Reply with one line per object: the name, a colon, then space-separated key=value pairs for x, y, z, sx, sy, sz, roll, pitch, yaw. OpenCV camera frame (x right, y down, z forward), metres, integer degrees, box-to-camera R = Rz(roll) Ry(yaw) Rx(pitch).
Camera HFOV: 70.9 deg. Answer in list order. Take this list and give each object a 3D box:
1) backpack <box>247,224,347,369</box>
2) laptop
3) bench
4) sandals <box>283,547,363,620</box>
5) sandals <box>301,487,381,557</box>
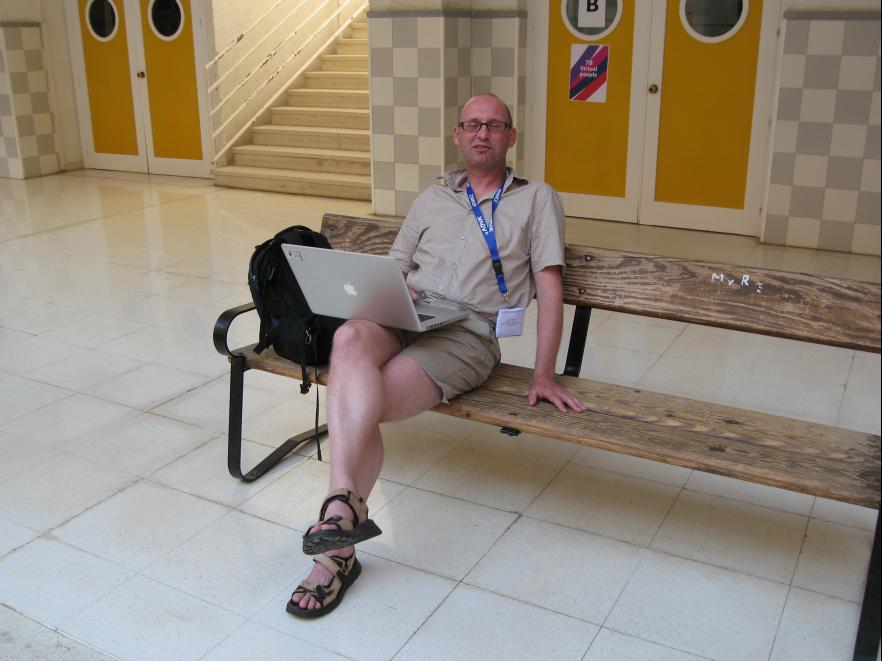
backpack: x=-0.540 y=-0.153 z=2.388 sx=0.341 sy=0.505 sz=0.419 roll=4 pitch=30 yaw=11
laptop: x=-0.225 y=-0.195 z=2.060 sx=0.393 sy=0.239 sz=0.369 roll=13 pitch=21 yaw=32
bench: x=0.306 y=0.134 z=2.327 sx=2.261 sy=1.017 sz=1.025 roll=7 pitch=17 yaw=27
sandals: x=-0.347 y=0.746 z=1.901 sx=0.130 sy=0.108 sz=0.306 roll=11 pitch=17 yaw=21
sandals: x=-0.250 y=0.526 z=1.779 sx=0.240 sy=0.140 sz=0.116 roll=-5 pitch=-13 yaw=-11
